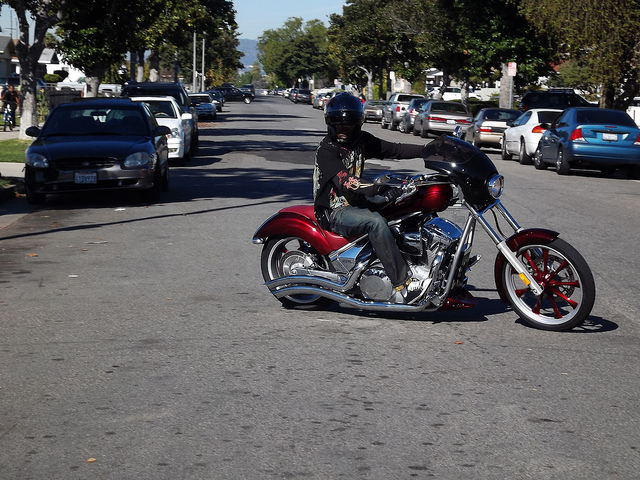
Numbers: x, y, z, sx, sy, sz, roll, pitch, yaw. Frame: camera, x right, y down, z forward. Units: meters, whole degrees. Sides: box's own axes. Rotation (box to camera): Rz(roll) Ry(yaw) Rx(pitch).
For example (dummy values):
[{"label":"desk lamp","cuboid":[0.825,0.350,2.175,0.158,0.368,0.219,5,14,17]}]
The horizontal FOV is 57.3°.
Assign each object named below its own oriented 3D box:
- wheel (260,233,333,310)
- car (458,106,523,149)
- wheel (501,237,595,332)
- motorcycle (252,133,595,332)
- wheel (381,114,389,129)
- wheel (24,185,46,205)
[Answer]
[{"label":"wheel","cuboid":[-0.212,0.321,5.949,1.134,0.817,0.328,-3,1,16]},{"label":"car","cuboid":[8.666,-6.064,28.968,2.337,1.246,4.311,-2,27,6]},{"label":"wheel","cuboid":[2.079,0.441,5.414,1.102,0.828,0.184,7,21,34]},{"label":"motorcycle","cuboid":[0.857,0.039,5.592,3.355,1.189,1.368,2,6,32]},{"label":"wheel","cuboid":[5.180,-9.440,46.279,0.424,1.098,1.067,3,12,8]},{"label":"wheel","cuboid":[-5.859,-0.944,12.154,0.198,0.375,0.464,-4,9,-13]}]
